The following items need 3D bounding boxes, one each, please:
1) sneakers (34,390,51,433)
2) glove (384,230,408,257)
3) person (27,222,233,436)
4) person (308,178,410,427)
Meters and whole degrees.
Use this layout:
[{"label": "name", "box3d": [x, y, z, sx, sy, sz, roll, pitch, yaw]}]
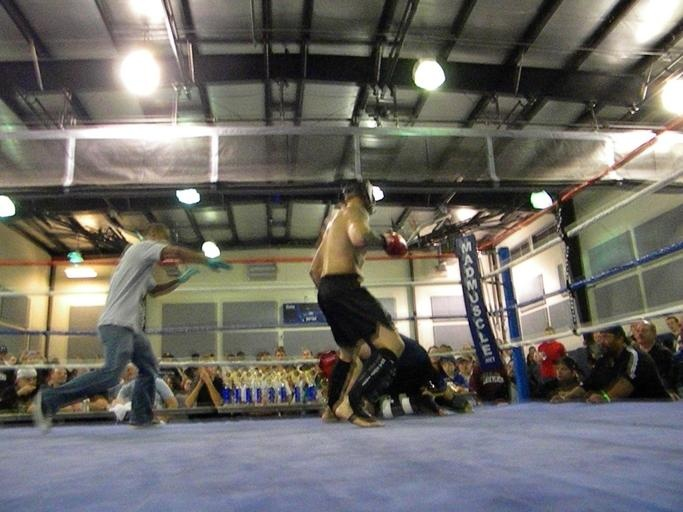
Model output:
[{"label": "sneakers", "box3d": [-1.627, 0.854, 2.447, 0.086, 0.221, 0.306, 4, -18, -33]}, {"label": "glove", "box3d": [0.318, -0.067, 2.678, 0.126, 0.146, 0.105, -1, 23, 3]}, {"label": "person", "box3d": [-1.223, 0.390, 2.883, 0.963, 1.361, 0.834, -5, -15, -4]}, {"label": "person", "box3d": [0.092, 0.246, 2.787, 0.473, 1.474, 0.709, -1, -16, -17]}]
